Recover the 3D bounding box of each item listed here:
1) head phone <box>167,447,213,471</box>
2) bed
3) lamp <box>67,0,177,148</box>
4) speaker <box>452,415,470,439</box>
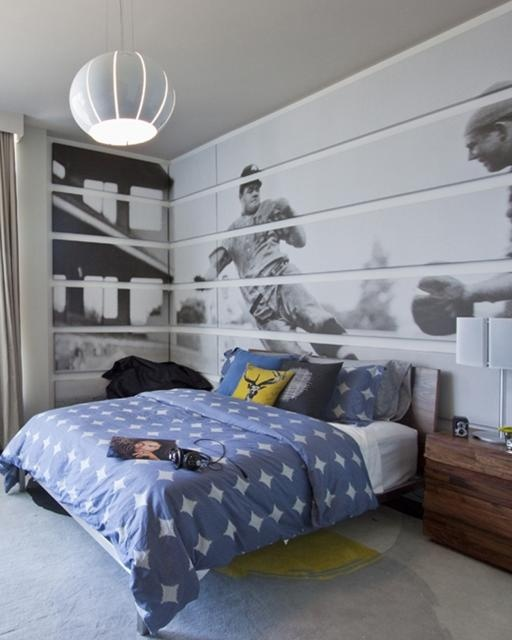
[{"bbox_3d":[-0.250,0.529,1.794,0.104,0.044,0.085,16,-3,-36],"label":"head phone"},{"bbox_3d":[-0.037,0.679,2.061,1.199,0.497,1.245,6,-7,-34],"label":"bed"},{"bbox_3d":[-0.478,-0.802,1.722,0.326,0.242,0.290,0,-1,17],"label":"lamp"},{"bbox_3d":[0.962,0.507,2.255,0.090,0.129,0.090,1,0,13],"label":"speaker"}]
